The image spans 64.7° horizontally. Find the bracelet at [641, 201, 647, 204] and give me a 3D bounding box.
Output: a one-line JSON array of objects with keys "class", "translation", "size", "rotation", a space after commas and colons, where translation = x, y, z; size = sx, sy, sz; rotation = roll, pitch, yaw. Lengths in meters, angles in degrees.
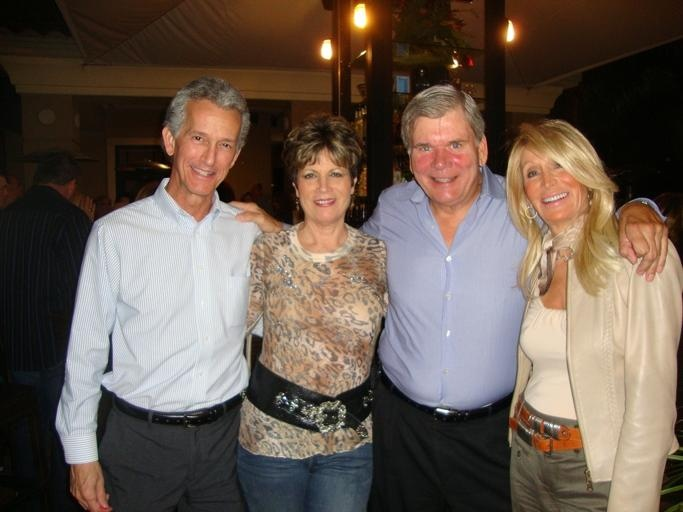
[{"class": "bracelet", "translation": [1.351, -0.244, 2.412], "size": [0.022, 0.024, 0.005], "rotation": [19, -8, 6]}]
